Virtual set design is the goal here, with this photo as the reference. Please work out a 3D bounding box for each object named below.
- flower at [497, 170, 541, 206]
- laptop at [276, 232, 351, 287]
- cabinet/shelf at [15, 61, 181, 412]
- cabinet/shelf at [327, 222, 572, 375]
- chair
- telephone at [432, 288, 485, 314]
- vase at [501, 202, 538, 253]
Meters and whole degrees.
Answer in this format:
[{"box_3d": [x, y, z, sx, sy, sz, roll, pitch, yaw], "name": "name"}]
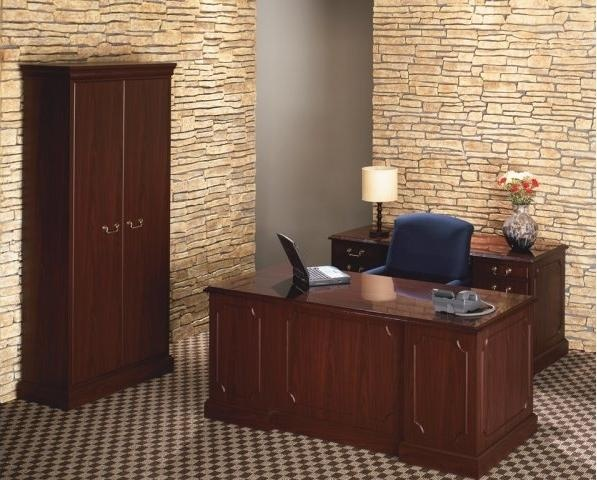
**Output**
[{"box_3d": [1.833, -0.433, 4.503, 0.327, 0.311, 0.313, 4, 21, 27], "name": "flower"}, {"box_3d": [0.102, 0.080, 3.612, 0.393, 0.260, 0.394, -3, 7, -14], "name": "laptop"}, {"box_3d": [-1.422, -0.079, 3.879, 1.077, 2.400, 0.520, -6, 9, -39], "name": "cabinet/shelf"}, {"box_3d": [1.419, 0.440, 5.040, 0.741, 0.943, 1.869, -13, 15, -42], "name": "cabinet/shelf"}, {"box_3d": [0.992, 0.021, 4.482, 0.589, 0.803, 0.703, 4, 2, 28], "name": "chair"}, {"box_3d": [0.853, 0.332, 2.935, 0.212, 0.096, 0.130, 3, 4, 33], "name": "telephone"}, {"box_3d": [1.822, -0.106, 4.444, 0.284, 0.345, 0.290, -1, 9, 4], "name": "vase"}]
